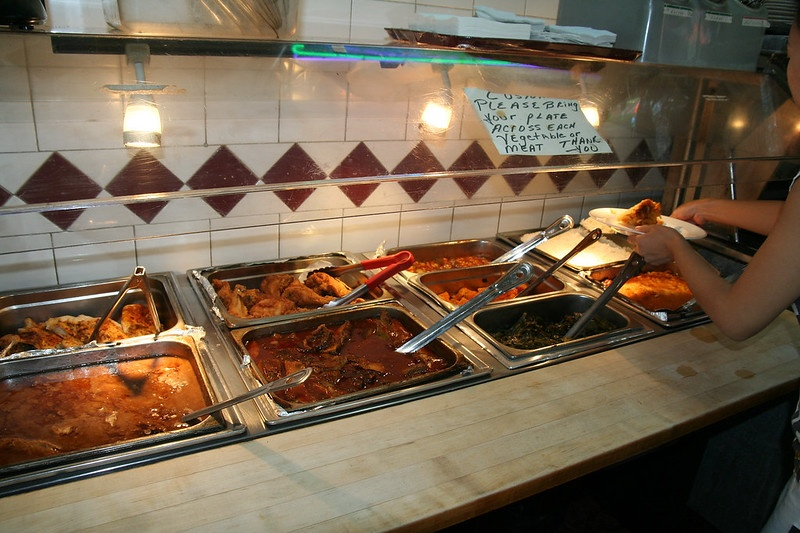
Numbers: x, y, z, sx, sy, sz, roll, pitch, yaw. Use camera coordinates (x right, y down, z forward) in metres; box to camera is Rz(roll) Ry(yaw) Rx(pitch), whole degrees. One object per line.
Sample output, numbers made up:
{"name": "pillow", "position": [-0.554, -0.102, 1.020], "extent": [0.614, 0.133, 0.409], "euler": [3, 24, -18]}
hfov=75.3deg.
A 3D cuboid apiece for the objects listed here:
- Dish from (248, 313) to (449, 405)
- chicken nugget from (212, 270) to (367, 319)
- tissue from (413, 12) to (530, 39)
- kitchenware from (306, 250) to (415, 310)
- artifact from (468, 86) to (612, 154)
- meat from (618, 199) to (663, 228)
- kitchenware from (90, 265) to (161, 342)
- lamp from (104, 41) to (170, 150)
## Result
{"name": "Dish", "position": [-0.174, 0.301, 1.717], "extent": [0.501, 0.045, 0.297], "euler": [-7, 22, -19]}
{"name": "chicken nugget", "position": [-0.435, 0.112, 1.960], "extent": [0.396, 0.043, 0.220], "euler": [-5, 21, -17]}
{"name": "tissue", "position": [0.228, -0.790, 1.710], "extent": [0.232, 0.034, 0.180], "euler": [2, 13, -4]}
{"name": "kitchenware", "position": [-0.160, 0.028, 2.084], "extent": [0.429, 0.059, 0.193], "euler": [-26, 48, 7]}
{"name": "artifact", "position": [0.520, -0.526, 1.895], "extent": [0.561, 0.269, 0.100], "euler": [-11, 29, -20]}
{"name": "meat", "position": [1.038, -0.223, 2.228], "extent": [0.205, 0.057, 0.125], "euler": [-14, 28, 6]}
{"name": "kitchenware", "position": [-0.932, 0.126, 1.796], "extent": [0.268, 0.236, 0.079], "euler": [6, -7, 2]}
{"name": "lamp", "position": [-0.718, -0.467, 1.432], "extent": [0.165, 0.282, 0.070], "euler": [-13, 30, -14]}
